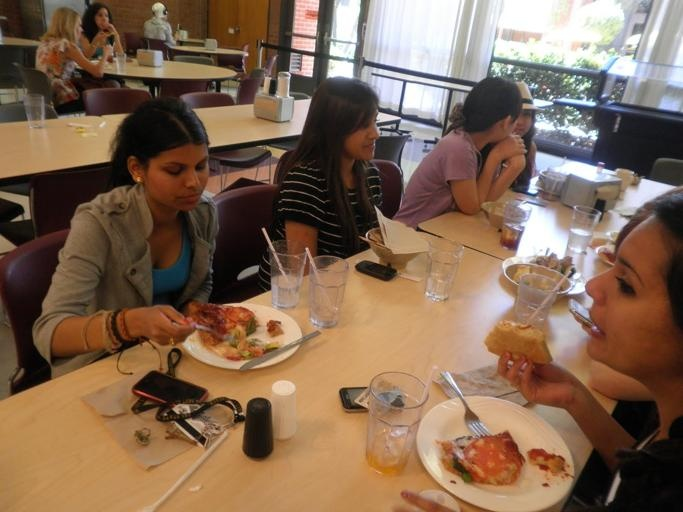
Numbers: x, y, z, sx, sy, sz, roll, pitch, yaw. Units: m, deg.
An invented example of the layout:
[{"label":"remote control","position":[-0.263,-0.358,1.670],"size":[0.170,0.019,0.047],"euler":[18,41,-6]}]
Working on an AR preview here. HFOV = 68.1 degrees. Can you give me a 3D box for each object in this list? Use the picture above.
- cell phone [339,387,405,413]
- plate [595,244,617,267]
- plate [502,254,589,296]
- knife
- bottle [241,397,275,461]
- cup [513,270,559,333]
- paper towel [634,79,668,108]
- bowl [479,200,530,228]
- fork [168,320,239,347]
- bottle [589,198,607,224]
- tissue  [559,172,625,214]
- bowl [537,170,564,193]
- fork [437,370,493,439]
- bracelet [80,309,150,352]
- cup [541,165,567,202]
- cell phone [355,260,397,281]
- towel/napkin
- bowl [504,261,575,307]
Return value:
[{"label":"cell phone","position":[0.058,0.399,1.436],"size":[0.137,0.015,0.081],"euler":[-4,25,-12]},{"label":"plate","position":[1.223,0.004,2.360],"size":[0.112,0.028,0.111],"euler":[17,45,-18]},{"label":"plate","position":[0.797,0.081,2.059],"size":[0.211,0.061,0.215],"euler":[19,33,30]},{"label":"knife","position":[-0.205,0.299,1.574],"size":[0.042,0.015,0.314],"euler":[38,37,27]},{"label":"bottle","position":[-0.214,0.439,1.280],"size":[0.080,0.142,0.071],"euler":[3,25,-11]},{"label":"cup","position":[0.684,0.165,1.785],"size":[0.118,0.162,0.158],"euler":[12,36,15]},{"label":"paper towel","position":[2.978,-1.613,4.983],"size":[0.241,0.284,0.247],"euler":[5,18,12]},{"label":"bowl","position":[0.812,-0.217,2.522],"size":[0.179,0.073,0.185],"euler":[-1,26,0]},{"label":"fork","position":[-0.436,0.240,1.555],"size":[0.114,0.026,0.035],"euler":[32,28,6]},{"label":"bottle","position":[1.386,-0.254,2.760],"size":[0.056,0.126,0.170],"euler":[16,49,22]},{"label":"tissue ","position":[1.454,-0.377,2.990],"size":[0.259,0.202,0.265],"euler":[-10,24,-36]},{"label":"bowl","position":[1.281,-0.473,3.125],"size":[0.135,0.103,0.136],"euler":[0,29,0]},{"label":"fork","position":[0.328,0.420,1.495],"size":[0.047,0.038,0.288],"euler":[-19,45,-21]},{"label":"bracelet","position":[-0.677,0.248,1.523],"size":[0.158,0.085,0.123],"euler":[-20,-21,23]},{"label":"cup","position":[1.305,-0.459,3.175],"size":[0.149,0.126,0.166],"euler":[-2,29,1]},{"label":"cell phone","position":[0.135,0.053,2.039],"size":[0.134,0.029,0.078],"euler":[19,27,22]},{"label":"towel/napkin","position":[-0.492,0.425,1.369],"size":[0.345,0.058,0.259],"euler":[26,30,32]},{"label":"bowl","position":[0.820,0.114,2.063],"size":[0.283,0.066,0.287],"euler":[11,-1,0]}]
